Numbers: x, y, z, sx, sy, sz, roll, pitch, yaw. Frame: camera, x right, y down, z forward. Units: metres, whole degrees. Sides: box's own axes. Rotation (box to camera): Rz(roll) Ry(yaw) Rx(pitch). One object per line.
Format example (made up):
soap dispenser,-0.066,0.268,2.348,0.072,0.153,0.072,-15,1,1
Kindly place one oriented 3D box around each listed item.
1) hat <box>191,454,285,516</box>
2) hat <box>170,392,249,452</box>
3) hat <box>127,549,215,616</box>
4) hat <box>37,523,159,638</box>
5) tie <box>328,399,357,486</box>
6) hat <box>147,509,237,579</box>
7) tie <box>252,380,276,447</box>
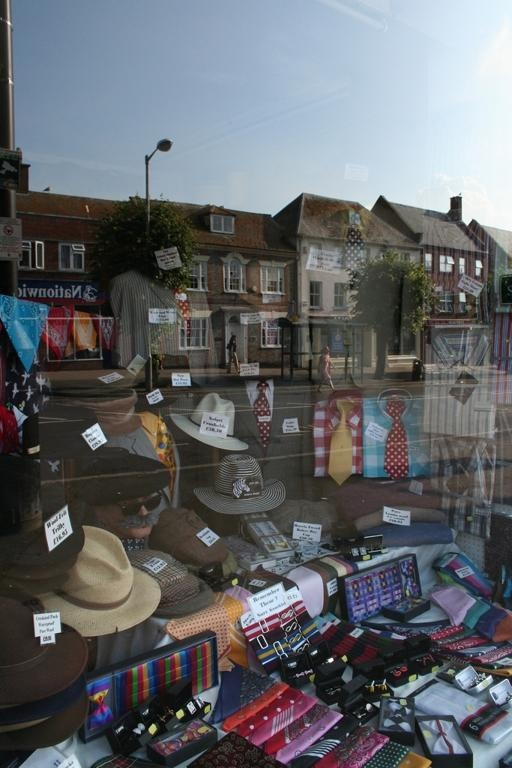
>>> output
hat,-0.066,0.481,2.744,0.289,0.146,0.335,6,7,21
hat,-0.229,0.181,2.658,0.269,0.289,0.264,5,3,44
hat,-0.396,0.757,2.232,0.386,0.097,0.395,16,4,-11
hat,-0.578,0.654,2.112,0.477,0.294,0.427,-3,5,-26
tie,0.496,0.331,3.231,0.192,0.481,0.072,1,7,-39
hat,-0.272,0.698,2.411,0.323,0.141,0.243,37,17,23
tie,0.025,0.163,2.875,0.108,0.394,0.032,5,31,11
